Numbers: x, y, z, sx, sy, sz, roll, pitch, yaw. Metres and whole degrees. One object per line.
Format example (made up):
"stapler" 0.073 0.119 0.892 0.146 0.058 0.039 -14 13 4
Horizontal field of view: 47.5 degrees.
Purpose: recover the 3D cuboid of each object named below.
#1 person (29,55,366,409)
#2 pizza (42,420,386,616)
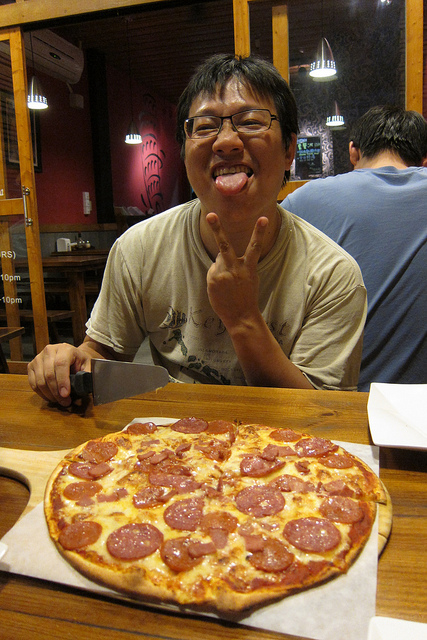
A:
"person" -0.029 -0.219 1.228 0.803 0.880 0.615 1 12 16
"pizza" -0.005 0.263 0.711 0.466 0.051 0.478 -3 2 -27
